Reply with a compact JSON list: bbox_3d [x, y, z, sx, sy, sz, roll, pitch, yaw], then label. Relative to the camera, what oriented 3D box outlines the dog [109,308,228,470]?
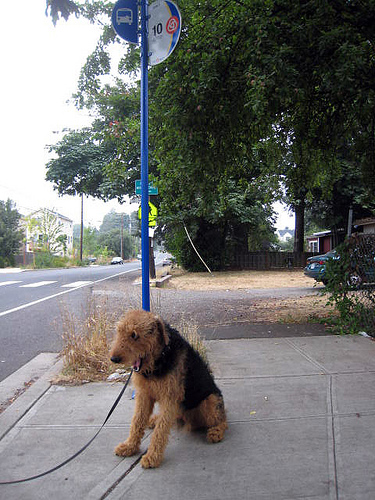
[{"bbox_3d":[-0.153,0.837,2.956,0.384,0.983,0.907,2,5,44],"label":"dog"}]

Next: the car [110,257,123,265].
[{"bbox_3d":[-10.936,1.747,72.226,0.983,0.931,2.496,-2,-7,-3],"label":"car"}]
